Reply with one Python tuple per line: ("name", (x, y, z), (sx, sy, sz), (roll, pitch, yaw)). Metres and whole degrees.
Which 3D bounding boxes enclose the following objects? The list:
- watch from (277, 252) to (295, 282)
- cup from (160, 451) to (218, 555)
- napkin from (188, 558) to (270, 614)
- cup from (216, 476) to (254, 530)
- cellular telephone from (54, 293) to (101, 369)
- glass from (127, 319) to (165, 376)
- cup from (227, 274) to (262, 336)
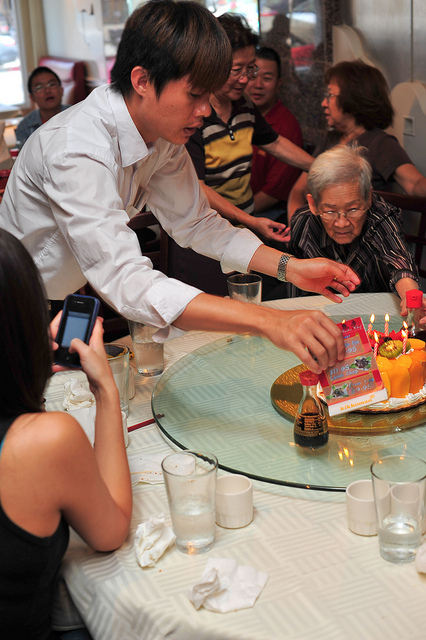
("watch", (0.193, -0.150, 1.317), (0.047, 0.073, 0.064), (6, 24, 7))
("cup", (-0.029, 0.258, 0.646), (0.081, 0.121, 0.080), (-5, 0, 0))
("napkin", (0.021, 0.300, 0.547), (0.077, 0.045, 0.076), (2, 21, 16))
("cup", (0.028, 0.279, 0.691), (0.054, 0.045, 0.050), (-2, -5, 0))
("cellular telephone", (-0.218, 0.017, 0.756), (0.080, 0.108, 0.081), (-7, 20, -5))
("glass", (-0.167, 0.068, 1.239), (0.096, 0.152, 0.102), (-4, 6, -19))
("cup", (0.095, -0.036, 1.408), (0.107, 0.171, 0.113), (-1, -7, 0))
